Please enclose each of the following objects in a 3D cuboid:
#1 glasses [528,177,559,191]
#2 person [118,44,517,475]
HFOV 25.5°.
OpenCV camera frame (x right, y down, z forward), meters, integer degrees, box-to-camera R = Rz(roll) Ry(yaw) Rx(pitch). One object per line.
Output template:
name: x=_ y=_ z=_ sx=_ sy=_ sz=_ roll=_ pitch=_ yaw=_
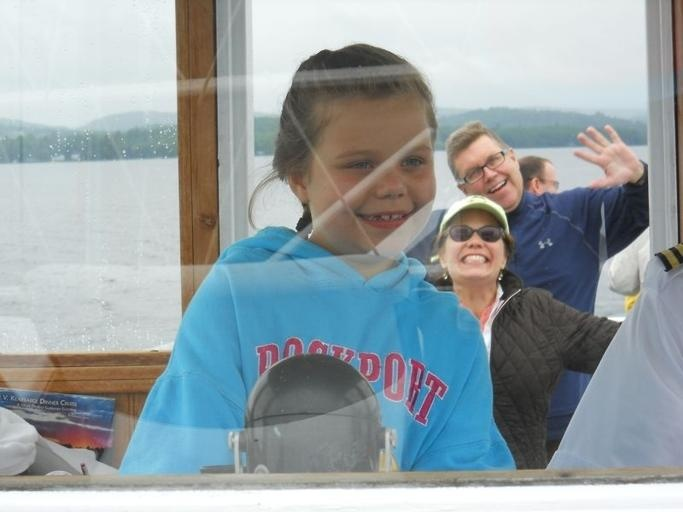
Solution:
glasses: x=0.380 y=-0.134 z=2.851 sx=0.059 sy=0.026 sz=0.019 roll=1 pitch=-4 yaw=-25
person: x=-0.054 y=0.002 z=2.849 sx=0.795 sy=1.047 sz=0.392 roll=3 pitch=-4 yaw=-16
